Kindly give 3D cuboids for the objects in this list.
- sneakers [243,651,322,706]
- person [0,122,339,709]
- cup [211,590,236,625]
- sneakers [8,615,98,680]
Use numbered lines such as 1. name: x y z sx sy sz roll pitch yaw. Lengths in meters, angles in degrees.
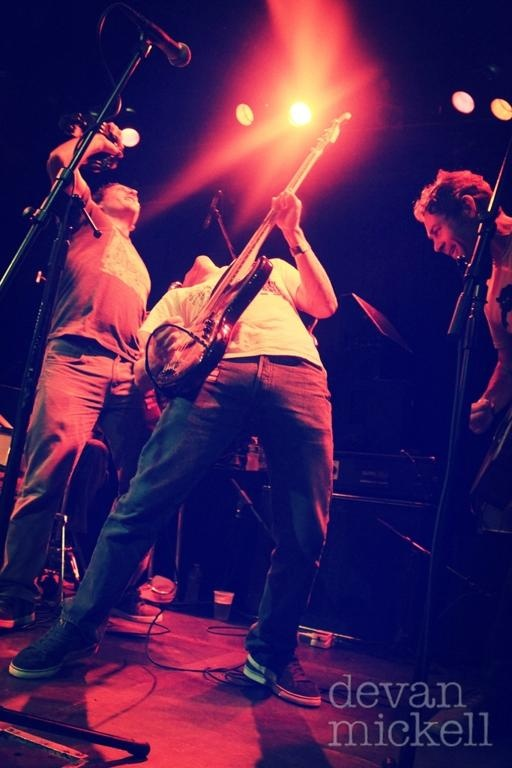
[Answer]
1. sneakers: 0.087 0.943 2.250 0.272 0.110 0.102 -8 -42 43
2. person: -0.095 -0.109 2.397 0.899 2.159 0.389 10 -8 -12
3. cup: -0.172 1.094 3.446 0.119 0.122 0.120 1 -19 0
4. sneakers: -0.592 0.797 2.147 0.113 0.146 0.341 29 -2 23
